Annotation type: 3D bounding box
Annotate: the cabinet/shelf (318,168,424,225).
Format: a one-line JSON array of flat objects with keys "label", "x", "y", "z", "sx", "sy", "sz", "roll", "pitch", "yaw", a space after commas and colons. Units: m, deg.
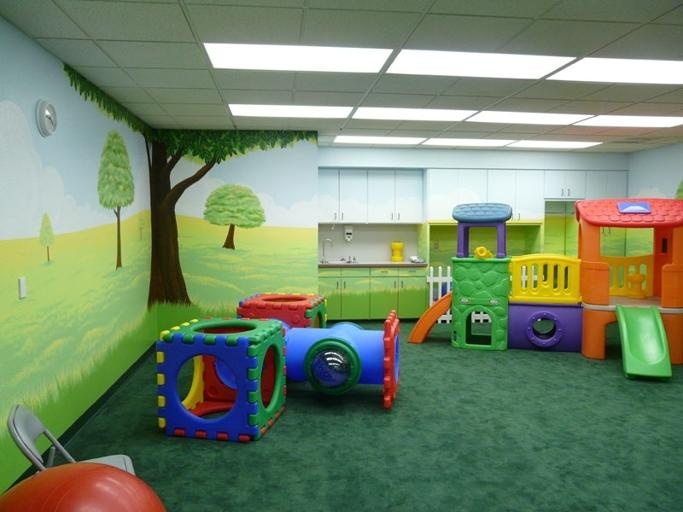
[{"label": "cabinet/shelf", "x": 0.545, "y": -1.122, "z": 8.471, "sx": 1.911, "sy": 0.984, "sz": 0.632, "roll": 3, "pitch": 12, "yaw": 16}]
